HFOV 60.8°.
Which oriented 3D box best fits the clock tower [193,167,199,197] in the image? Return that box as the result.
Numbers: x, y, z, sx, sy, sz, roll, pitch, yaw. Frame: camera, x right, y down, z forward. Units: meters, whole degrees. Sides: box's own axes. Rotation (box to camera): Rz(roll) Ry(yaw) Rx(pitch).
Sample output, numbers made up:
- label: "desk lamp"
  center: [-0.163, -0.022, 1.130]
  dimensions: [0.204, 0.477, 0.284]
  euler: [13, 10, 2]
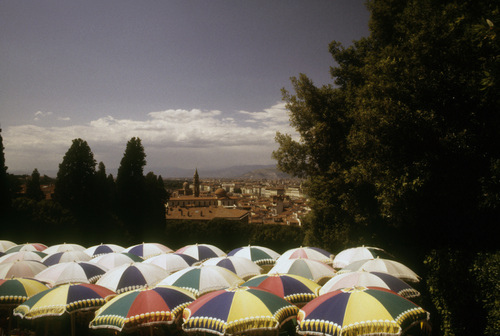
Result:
- label: "clock tower"
  center: [-17.180, 4.616, 136.229]
  dimensions: [1.453, 8.235, 7.811]
  euler: [1, -2, -8]

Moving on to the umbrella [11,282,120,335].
- label: "umbrella"
  center: [-7.684, 5.529, 17.713]
  dimensions: [2.360, 1.657, 2.390]
  euler: [12, -20, -41]
